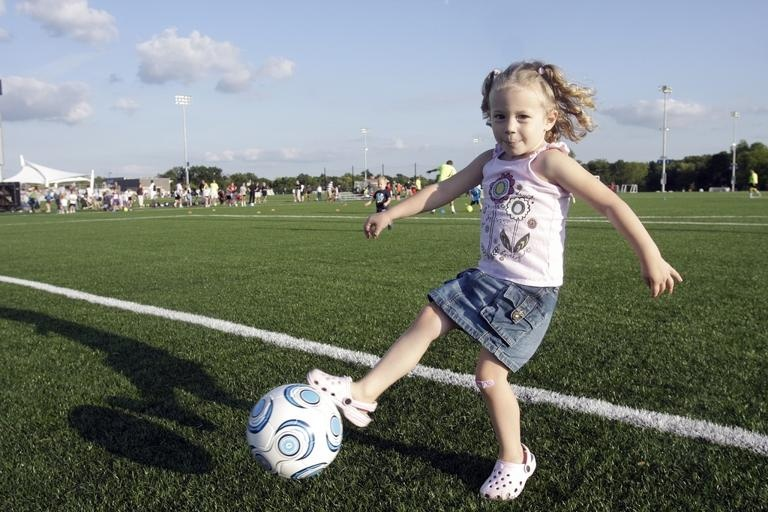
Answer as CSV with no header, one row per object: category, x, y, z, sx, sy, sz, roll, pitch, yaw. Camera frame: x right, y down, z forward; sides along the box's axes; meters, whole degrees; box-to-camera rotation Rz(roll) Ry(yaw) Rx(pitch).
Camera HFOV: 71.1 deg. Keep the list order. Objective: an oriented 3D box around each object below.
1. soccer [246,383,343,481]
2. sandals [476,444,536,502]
soccer,-0.489,0.929,3.087,0.562,0.533,0.484,-16,32,-20
sandals,0.694,1.205,2.983,0.156,0.121,0.323,-1,12,39
